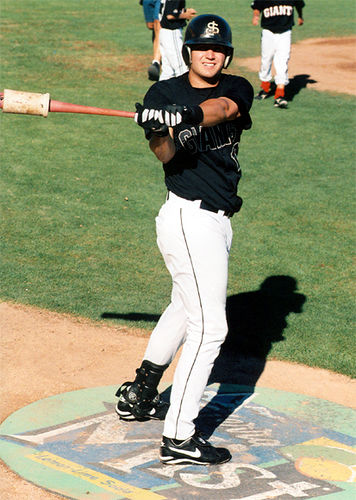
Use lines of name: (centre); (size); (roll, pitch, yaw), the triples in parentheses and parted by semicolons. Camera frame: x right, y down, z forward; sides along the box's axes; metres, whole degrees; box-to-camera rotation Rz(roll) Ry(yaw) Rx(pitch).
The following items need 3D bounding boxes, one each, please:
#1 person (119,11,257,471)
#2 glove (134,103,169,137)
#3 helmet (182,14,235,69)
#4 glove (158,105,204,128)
person: (0.052, -0.044, 2.632); (0.499, 1.863, 0.632); (4, 16, -4)
glove: (-0.080, -0.465, 2.327); (0.109, 0.060, 0.136); (29, -15, 27)
helmet: (0.133, -0.900, 2.674); (0.219, 0.238, 0.266); (4, 14, 1)
glove: (0.007, -0.465, 2.224); (0.098, 0.043, 0.119); (-3, -2, 32)
